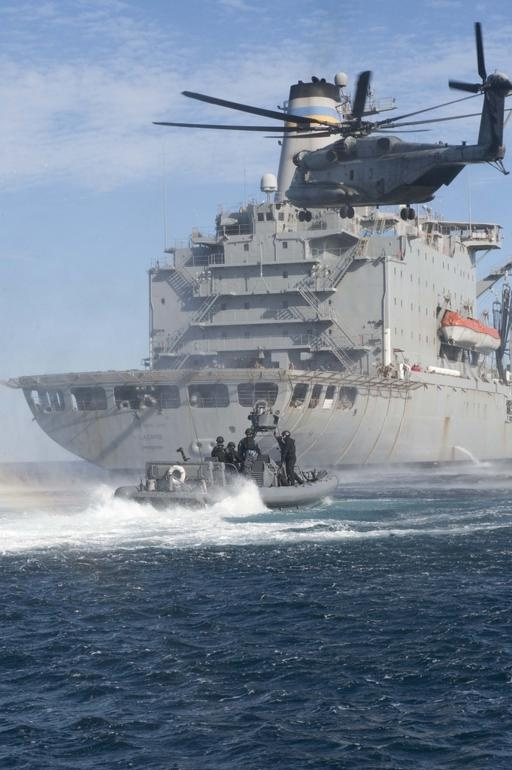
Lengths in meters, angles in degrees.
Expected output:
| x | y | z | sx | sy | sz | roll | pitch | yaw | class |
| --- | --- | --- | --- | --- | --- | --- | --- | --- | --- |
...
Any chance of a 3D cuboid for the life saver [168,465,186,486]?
| x | y | z | sx | sy | sz | roll | pitch | yaw | class |
| --- | --- | --- | --- | --- | --- | --- | --- | --- | --- |
| -1.540 | 1.816 | 30.524 | 0.488 | 0.384 | 0.206 | -5 | 9 | -40 | life saver |
